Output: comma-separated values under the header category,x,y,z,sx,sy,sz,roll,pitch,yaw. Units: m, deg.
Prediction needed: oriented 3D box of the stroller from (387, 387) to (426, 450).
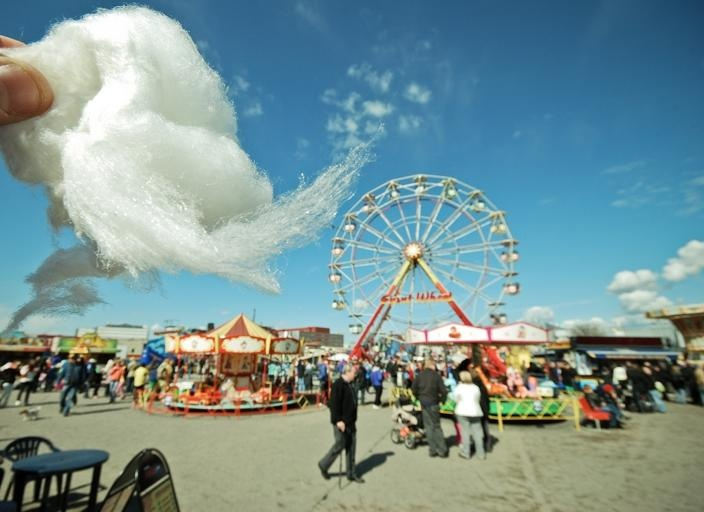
category,x,y,z,sx,sy,sz,roll,pitch,yaw
stroller,1.299,4.324,10.386,1.179,1.617,1.035,-6,-21,24

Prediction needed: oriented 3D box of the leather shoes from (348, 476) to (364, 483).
category,x,y,z,sx,sy,sz,roll,pitch,yaw
leather shoes,0.081,4.228,7.443,0.302,0.134,0.108,-5,-12,12

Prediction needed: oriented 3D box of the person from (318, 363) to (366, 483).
category,x,y,z,sx,sy,sz,roll,pitch,yaw
person,-0.234,3.259,7.780,0.772,2.143,1.045,-2,-19,-3
